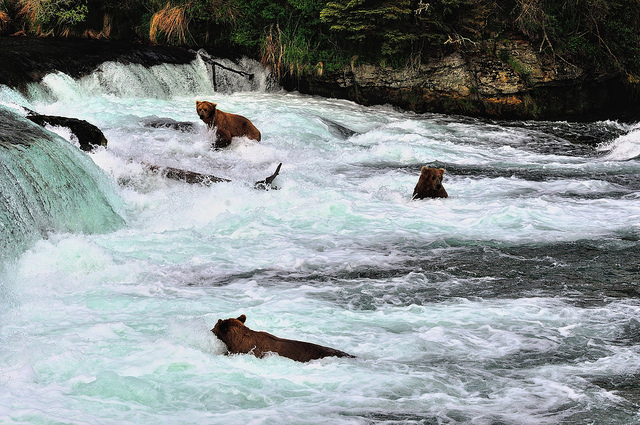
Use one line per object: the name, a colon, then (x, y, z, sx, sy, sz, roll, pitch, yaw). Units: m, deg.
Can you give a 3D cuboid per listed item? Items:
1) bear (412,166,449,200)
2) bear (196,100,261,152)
bear: (1.924, -0.492, 11.800, 0.590, 0.593, 0.415, 2, 11, 8)
bear: (-2.008, -1.714, 14.472, 0.555, 0.894, 1.741, 5, -6, 39)
